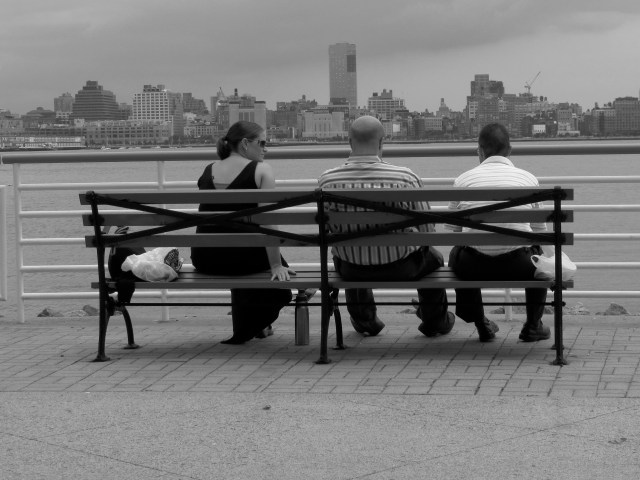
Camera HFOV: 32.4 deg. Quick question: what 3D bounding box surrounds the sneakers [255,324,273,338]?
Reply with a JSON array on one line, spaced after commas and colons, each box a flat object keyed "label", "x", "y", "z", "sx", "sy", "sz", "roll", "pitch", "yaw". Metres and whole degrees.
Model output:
[{"label": "sneakers", "x": -0.379, "y": 0.638, "z": 7.704, "sx": 0.057, "sy": 0.052, "sz": 0.151, "roll": 5, "pitch": 10, "yaw": 21}]

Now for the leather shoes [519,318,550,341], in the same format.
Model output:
[{"label": "leather shoes", "x": 1.430, "y": 0.611, "z": 7.307, "sx": 0.267, "sy": 0.092, "sz": 0.098, "roll": -5, "pitch": 7, "yaw": -41}]

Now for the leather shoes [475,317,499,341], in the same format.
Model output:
[{"label": "leather shoes", "x": 1.135, "y": 0.599, "z": 7.424, "sx": 0.097, "sy": 0.089, "sz": 0.252, "roll": -3, "pitch": 5, "yaw": 18}]

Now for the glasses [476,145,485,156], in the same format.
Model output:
[{"label": "glasses", "x": 1.072, "y": -0.605, "z": 7.405, "sx": 0.061, "sy": 0.052, "sz": 0.068, "roll": 1, "pitch": -17, "yaw": 17}]

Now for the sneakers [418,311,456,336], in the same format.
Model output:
[{"label": "sneakers", "x": 0.796, "y": 0.580, "z": 7.593, "sx": 0.122, "sy": 0.116, "sz": 0.313, "roll": 16, "pitch": 26, "yaw": 35}]
